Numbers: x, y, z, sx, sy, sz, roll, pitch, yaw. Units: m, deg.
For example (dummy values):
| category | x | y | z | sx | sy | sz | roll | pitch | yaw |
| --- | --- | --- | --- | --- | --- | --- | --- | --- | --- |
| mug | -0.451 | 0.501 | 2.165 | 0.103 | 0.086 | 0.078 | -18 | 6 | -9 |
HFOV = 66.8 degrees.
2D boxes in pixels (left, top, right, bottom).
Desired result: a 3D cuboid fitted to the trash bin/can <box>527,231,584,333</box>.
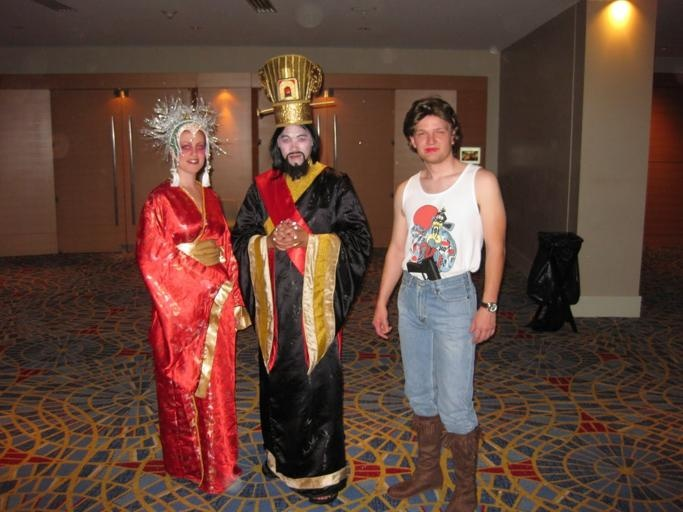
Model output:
| category | x | y | z | sx | sy | sz | roll | pitch | yaw |
| --- | --- | --- | --- | --- | --- | --- | --- | --- | --- |
| trash bin/can | 2.208 | 0.248 | 5.322 | 0.536 | 0.937 | 0.518 | 1 | 10 | 12 |

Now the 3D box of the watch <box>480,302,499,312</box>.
| category | x | y | z | sx | sy | sz | roll | pitch | yaw |
| --- | --- | --- | --- | --- | --- | --- | --- | --- | --- |
| watch | 0.790 | 0.264 | 2.725 | 0.071 | 0.051 | 0.076 | 3 | 0 | 7 |

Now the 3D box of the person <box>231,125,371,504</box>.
| category | x | y | z | sx | sy | sz | roll | pitch | yaw |
| --- | --- | --- | --- | --- | --- | --- | --- | --- | --- |
| person | -0.230 | 0.314 | 3.025 | 0.827 | 2.139 | 0.465 | -1 | 9 | 2 |

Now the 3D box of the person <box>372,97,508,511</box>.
| category | x | y | z | sx | sy | sz | roll | pitch | yaw |
| --- | --- | --- | --- | --- | --- | --- | --- | --- | --- |
| person | 0.573 | 0.277 | 2.827 | 0.578 | 2.245 | 0.323 | 3 | 10 | 26 |
